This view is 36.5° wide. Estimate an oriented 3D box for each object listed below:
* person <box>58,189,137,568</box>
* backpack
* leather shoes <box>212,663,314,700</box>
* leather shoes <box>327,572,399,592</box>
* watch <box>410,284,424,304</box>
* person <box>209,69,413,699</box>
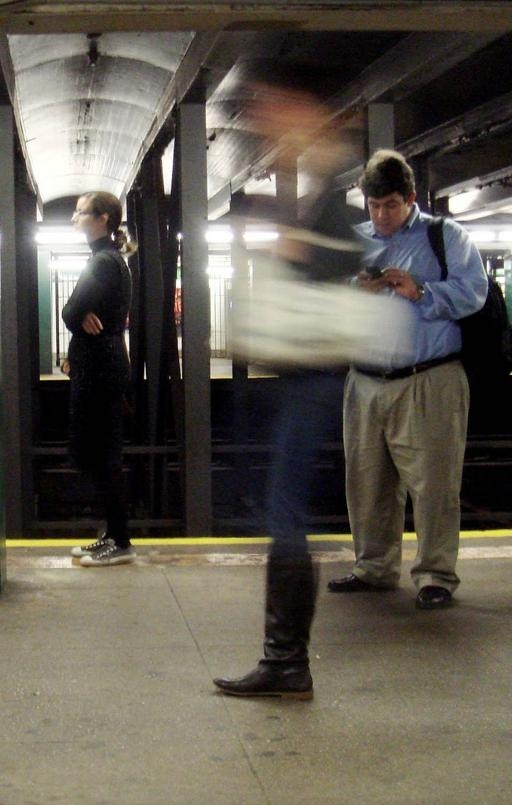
[{"bbox_3d":[-0.886,-0.140,4.412,0.368,2.120,0.426,-2,3,-5],"label":"person"},{"bbox_3d":[0.956,-0.518,3.398,0.363,0.583,0.190,-2,3,-14],"label":"backpack"},{"bbox_3d":[0.038,0.852,2.444,0.334,0.135,0.106,3,-6,8],"label":"leather shoes"},{"bbox_3d":[0.517,0.858,3.804,0.348,0.129,0.114,2,-4,-1],"label":"leather shoes"},{"bbox_3d":[0.681,-0.460,3.268,0.054,0.066,0.068,0,-2,4],"label":"watch"},{"bbox_3d":[0.140,-0.147,2.670,0.514,2.099,1.082,-1,2,9],"label":"person"}]
